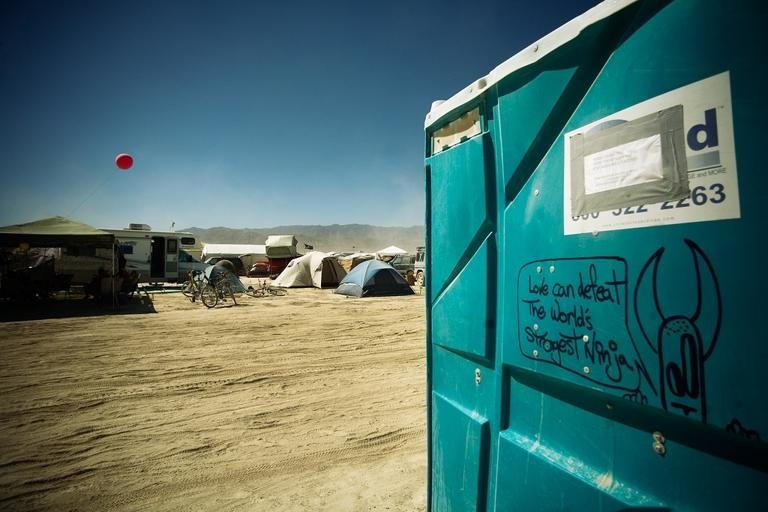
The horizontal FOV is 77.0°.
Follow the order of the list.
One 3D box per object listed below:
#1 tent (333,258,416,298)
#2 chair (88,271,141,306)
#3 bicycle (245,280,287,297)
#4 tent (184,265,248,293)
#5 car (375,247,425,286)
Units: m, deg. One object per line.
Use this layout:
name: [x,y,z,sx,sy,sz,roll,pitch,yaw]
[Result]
tent: [-0.673,0.959,18.214,1.653,0.891,1.898,-2,-2,41]
chair: [-7.725,0.882,14.131,1.065,0.863,1.412,3,6,33]
bicycle: [-4.655,1.042,18.867,1.032,0.911,1.796,-3,-6,17]
tent: [-5.718,0.658,16.480,1.580,0.671,1.565,2,-5,-32]
car: [0.553,0.474,25.400,3.074,1.822,1.861,2,1,8]
